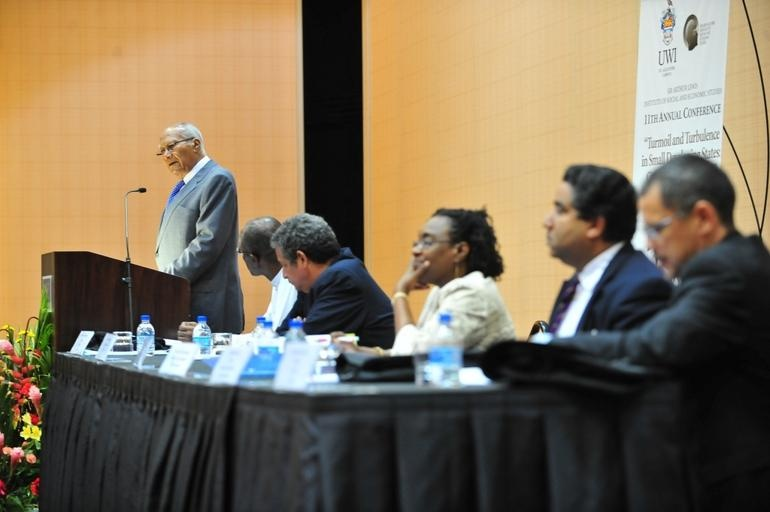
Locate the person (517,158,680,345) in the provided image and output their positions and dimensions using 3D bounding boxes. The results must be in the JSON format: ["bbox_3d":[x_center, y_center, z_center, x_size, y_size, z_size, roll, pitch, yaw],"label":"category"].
[{"bbox_3d":[1.014,-0.013,4.400,0.606,0.892,0.932,2,-2,-1],"label":"person"}]

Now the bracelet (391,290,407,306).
[{"bbox_3d":[0.074,0.223,4.907,0.068,0.068,0.070,0,-5,-1],"label":"bracelet"}]

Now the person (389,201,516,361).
[{"bbox_3d":[0.406,0.179,4.857,0.633,0.923,0.740,4,-8,-10],"label":"person"}]

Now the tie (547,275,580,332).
[{"bbox_3d":[0.846,0.228,4.391,0.085,0.237,0.166,8,0,-34],"label":"tie"}]

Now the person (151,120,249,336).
[{"bbox_3d":[-1.274,-0.235,6.384,0.572,1.545,0.705,0,-10,-6],"label":"person"}]

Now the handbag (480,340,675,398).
[{"bbox_3d":[0.633,0.410,3.371,0.378,0.122,0.293,9,4,37],"label":"handbag"}]
